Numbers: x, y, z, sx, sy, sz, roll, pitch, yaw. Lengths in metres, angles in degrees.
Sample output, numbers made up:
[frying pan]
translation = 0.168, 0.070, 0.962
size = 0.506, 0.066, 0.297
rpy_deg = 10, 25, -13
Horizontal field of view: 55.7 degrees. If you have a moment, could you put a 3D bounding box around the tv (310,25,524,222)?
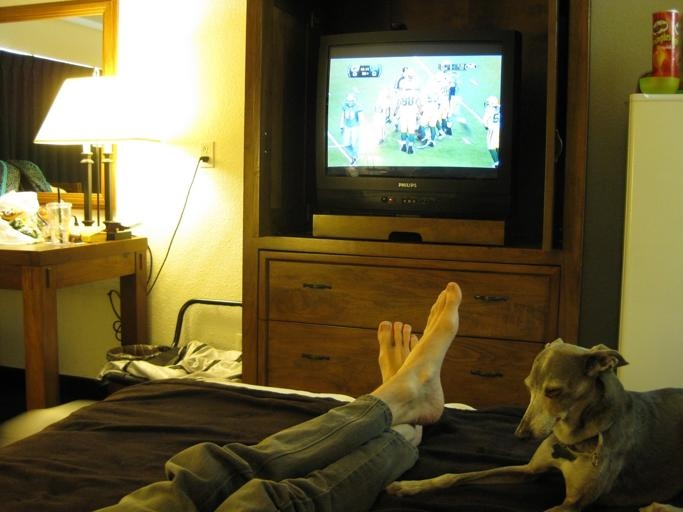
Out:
[tv]
translation = 0.222, -0.439, 2.744
size = 1.140, 0.922, 0.639
rpy_deg = 2, 11, 11

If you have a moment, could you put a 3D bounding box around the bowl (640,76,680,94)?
[bowl]
translation = 1.059, -0.559, 2.141
size = 0.090, 0.033, 0.082
rpy_deg = 0, 6, 0

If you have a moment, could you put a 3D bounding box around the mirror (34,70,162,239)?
[mirror]
translation = -1.055, -0.448, 2.882
size = 0.476, 0.703, 0.305
rpy_deg = 1, 3, 11

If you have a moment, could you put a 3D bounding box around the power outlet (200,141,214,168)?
[power outlet]
translation = -0.600, -0.459, 2.912
size = 0.067, 0.116, 0.022
rpy_deg = 1, 3, 12
